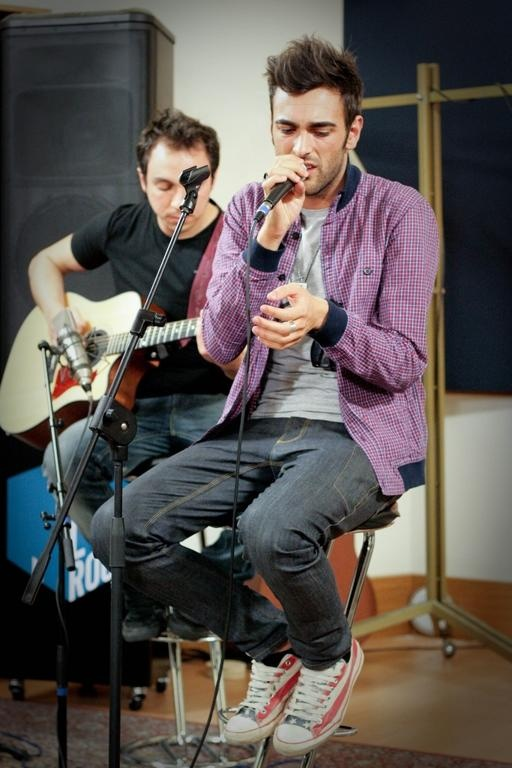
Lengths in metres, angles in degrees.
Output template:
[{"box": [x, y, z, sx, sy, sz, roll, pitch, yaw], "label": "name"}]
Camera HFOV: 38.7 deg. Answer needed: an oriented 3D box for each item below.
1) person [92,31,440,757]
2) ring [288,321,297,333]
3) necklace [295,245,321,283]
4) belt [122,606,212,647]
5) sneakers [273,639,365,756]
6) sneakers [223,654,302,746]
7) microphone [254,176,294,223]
[{"box": [0.032, -0.020, 1.344, 0.490, 1.198, 0.569, -1, 5, 40], "label": "person"}, {"box": [0.053, -0.087, 1.113, 0.012, 0.015, 0.016, 3, -30, -5], "label": "ring"}, {"box": [0.105, -0.228, 1.437, 0.045, 0.078, 0.019, 21, -11, 43], "label": "necklace"}, {"box": [-0.190, 0.521, 1.567, 0.175, 0.069, 0.118, 1, 28, -1], "label": "belt"}, {"box": [0.122, 0.491, 1.212, 0.080, 0.223, 0.081, 16, -36, 24], "label": "sneakers"}, {"box": [0.012, 0.535, 1.293, 0.074, 0.095, 0.224, 2, 11, 21], "label": "sneakers"}, {"box": [0.030, -0.288, 1.134, 0.029, 0.022, 0.151, 11, 34, 16], "label": "microphone"}]
